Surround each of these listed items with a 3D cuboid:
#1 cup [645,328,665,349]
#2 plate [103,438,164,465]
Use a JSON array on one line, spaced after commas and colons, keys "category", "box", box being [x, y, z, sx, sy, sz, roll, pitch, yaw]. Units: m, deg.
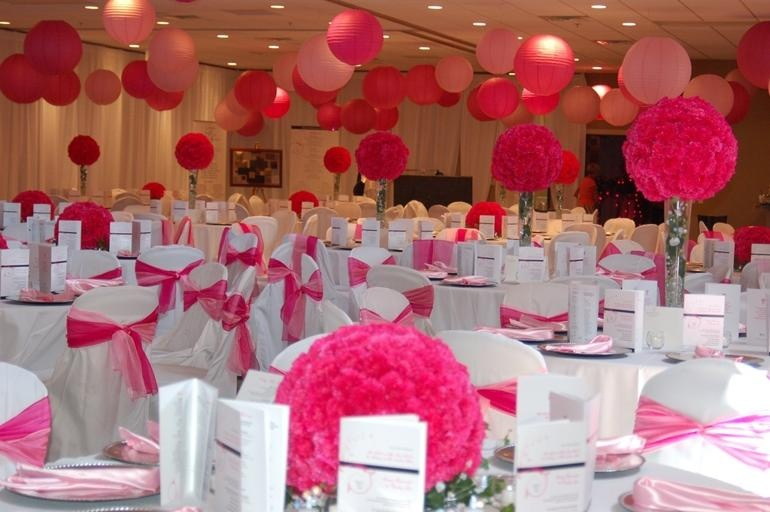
[{"category": "cup", "box": [1.312, 0.402, 3.203, 0.074, 0.082, 0.072, 3, -11, 1]}, {"category": "plate", "box": [-0.747, 0.586, 1.961, 0.160, 0.015, 0.179, 7, 1, -1]}]
